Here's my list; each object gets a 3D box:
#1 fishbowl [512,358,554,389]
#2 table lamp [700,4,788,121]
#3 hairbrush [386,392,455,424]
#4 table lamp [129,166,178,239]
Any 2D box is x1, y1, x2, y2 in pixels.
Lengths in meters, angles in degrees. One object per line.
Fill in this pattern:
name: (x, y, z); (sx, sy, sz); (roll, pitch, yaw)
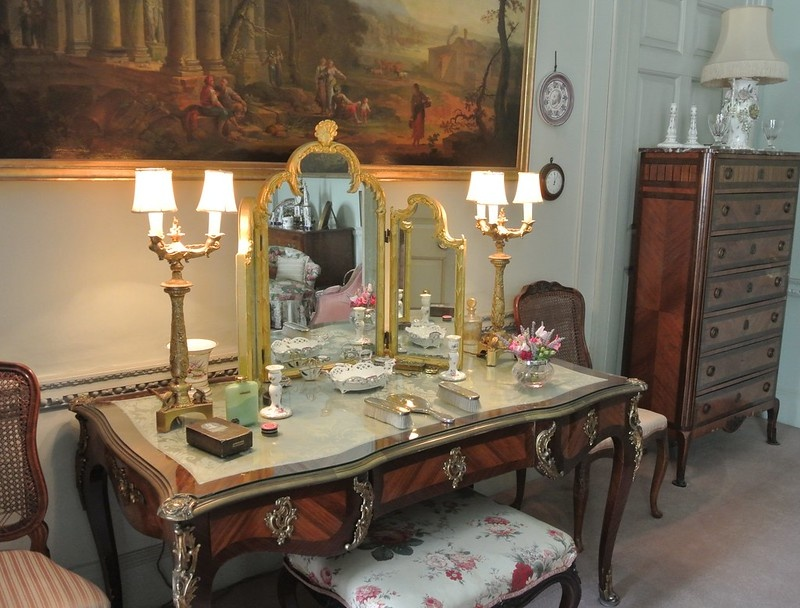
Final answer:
fishbowl: (0.671, 0.345, 3.409); (0.150, 0.104, 0.154); (3, 8, 24)
table lamp: (2.464, -1.821, 4.877); (0.650, 0.551, 0.586); (-11, 18, -25)
hairbrush: (0.100, 0.444, 2.997); (0.122, 0.011, 0.263); (-7, 15, -44)
table lamp: (-1.028, -0.421, 2.776); (0.164, 0.285, 0.172); (-8, 13, -21)
